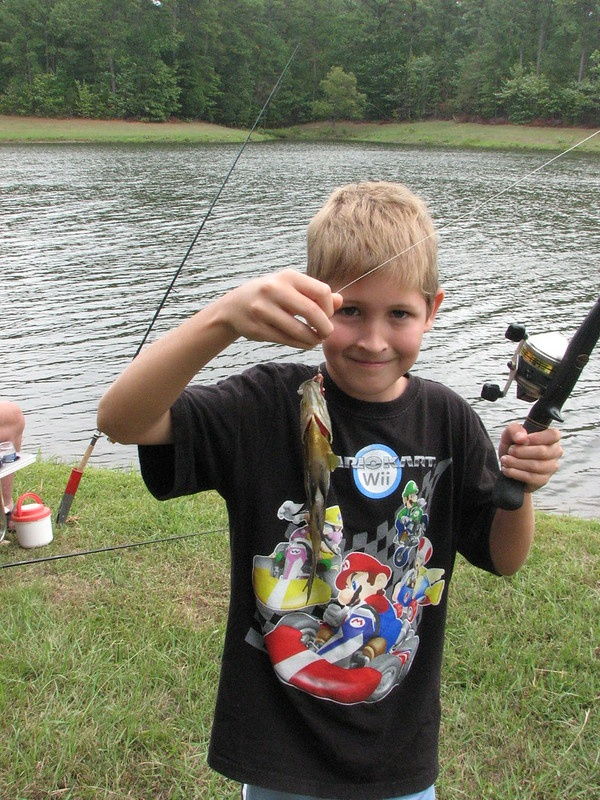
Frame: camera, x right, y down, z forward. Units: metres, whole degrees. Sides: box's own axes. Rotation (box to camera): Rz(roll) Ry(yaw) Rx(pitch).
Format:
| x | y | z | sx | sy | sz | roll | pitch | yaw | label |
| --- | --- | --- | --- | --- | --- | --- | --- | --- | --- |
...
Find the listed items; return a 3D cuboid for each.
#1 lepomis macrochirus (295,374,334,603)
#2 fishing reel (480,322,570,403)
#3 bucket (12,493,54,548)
| x | y | z | sx | sy | sz | roll | pitch | yaw | label |
| --- | --- | --- | --- | --- | --- | --- | --- | --- | --- |
| 0.030 | 0.218 | 1.665 | 0.092 | 0.555 | 0.132 | 4 | 11 | 2 | lepomis macrochirus |
| 0.581 | -0.093 | 1.882 | 0.209 | 0.183 | 0.132 | 10 | 7 | 42 | fishing reel |
| -1.634 | 0.727 | 4.436 | 0.226 | 0.324 | 0.227 | -9 | 8 | 1 | bucket |
